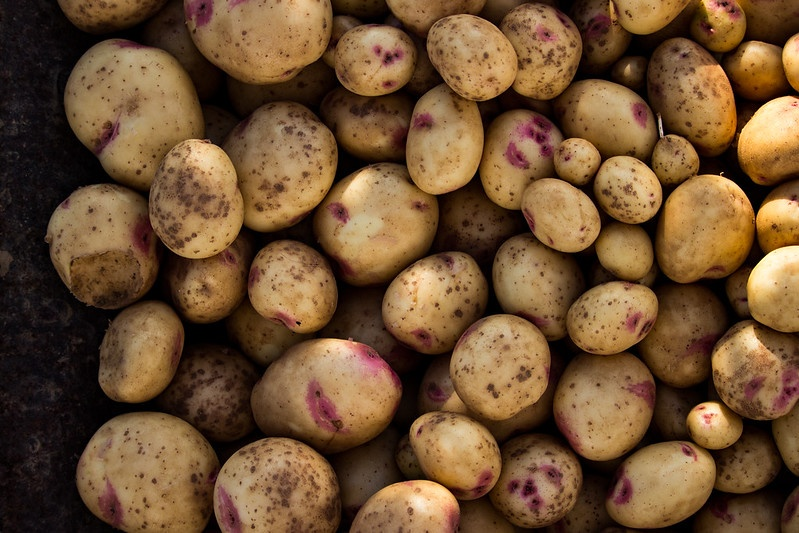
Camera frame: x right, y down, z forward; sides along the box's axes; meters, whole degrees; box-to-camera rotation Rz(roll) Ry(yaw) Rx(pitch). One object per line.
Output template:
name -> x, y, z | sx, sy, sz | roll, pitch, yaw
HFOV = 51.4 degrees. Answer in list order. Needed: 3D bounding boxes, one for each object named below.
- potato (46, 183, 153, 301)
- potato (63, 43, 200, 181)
potato -> -0.909, -0.055, 2.718 | 0.271, 0.394, 0.305 | -7, 38, 0
potato -> -0.849, -0.518, 2.738 | 0.333, 0.253, 0.479 | -17, 91, 3
